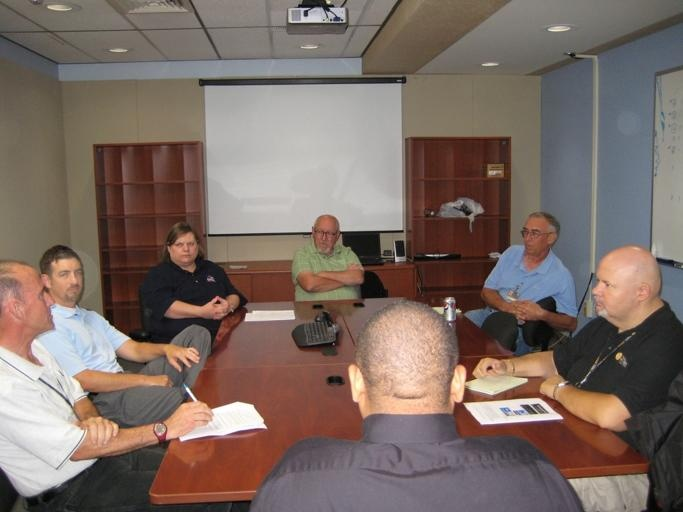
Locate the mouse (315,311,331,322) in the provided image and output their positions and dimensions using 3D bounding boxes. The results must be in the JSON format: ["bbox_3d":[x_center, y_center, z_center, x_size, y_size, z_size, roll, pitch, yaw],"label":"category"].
[{"bbox_3d":[-0.121,0.407,3.421,0.071,0.055,0.076,-27,-15,23],"label":"mouse"}]

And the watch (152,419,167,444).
[{"bbox_3d":[-0.757,0.738,2.178,0.066,0.099,0.101,-6,-17,-1],"label":"watch"}]

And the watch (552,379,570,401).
[{"bbox_3d":[0.988,0.614,2.353,0.030,0.072,0.074,13,20,6],"label":"watch"}]

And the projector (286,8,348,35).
[{"bbox_3d":[-0.162,-1.671,3.750,0.287,0.092,0.282,0,9,-3],"label":"projector"}]

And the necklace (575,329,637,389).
[{"bbox_3d":[1.283,0.493,2.511,0.019,0.390,0.141,30,18,-23],"label":"necklace"}]

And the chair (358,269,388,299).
[{"bbox_3d":[0.283,0.281,4.784,0.230,0.288,0.243,0,0,-8],"label":"chair"}]

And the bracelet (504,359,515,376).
[{"bbox_3d":[0.858,0.563,2.623,0.052,0.025,0.069,3,9,7],"label":"bracelet"}]

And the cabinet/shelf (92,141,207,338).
[{"bbox_3d":[-2.364,-0.134,6.062,0.863,1.978,0.229,6,16,-13],"label":"cabinet/shelf"}]

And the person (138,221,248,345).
[{"bbox_3d":[-1.138,0.295,4.155,0.839,0.990,0.864,8,10,34],"label":"person"}]

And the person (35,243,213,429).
[{"bbox_3d":[-1.268,0.623,3.099,1.012,1.250,0.746,-1,11,-10],"label":"person"}]

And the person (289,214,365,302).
[{"bbox_3d":[-0.142,0.137,4.748,0.672,0.933,0.476,-6,16,-29],"label":"person"}]
